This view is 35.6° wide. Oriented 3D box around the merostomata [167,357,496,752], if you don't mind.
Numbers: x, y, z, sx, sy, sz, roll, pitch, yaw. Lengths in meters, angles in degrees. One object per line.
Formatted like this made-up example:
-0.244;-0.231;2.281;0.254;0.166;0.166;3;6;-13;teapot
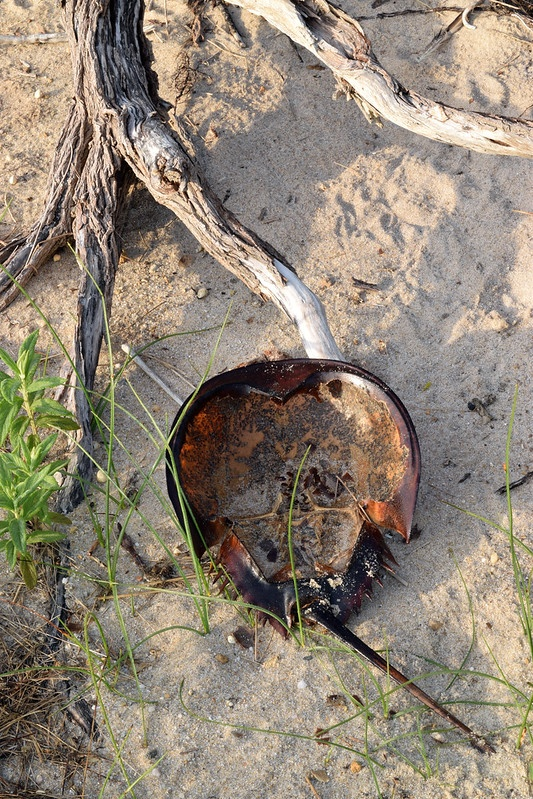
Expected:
0.121;0.306;2.924;0.819;0.473;1.002;-37;75;-29;merostomata
